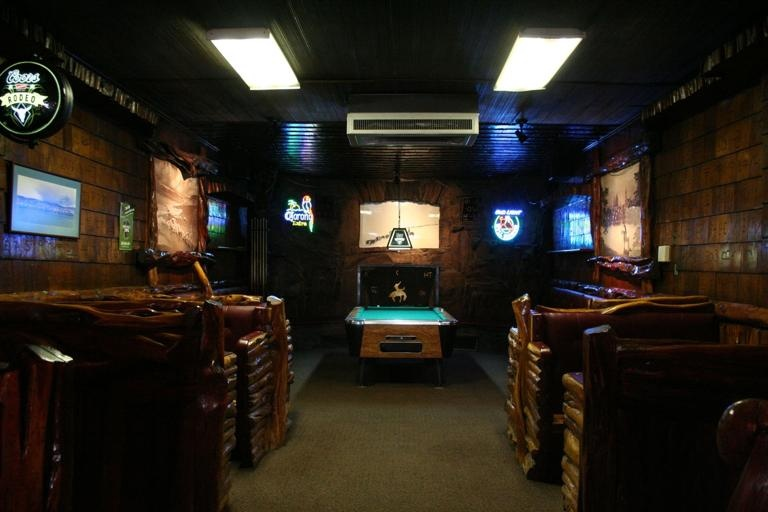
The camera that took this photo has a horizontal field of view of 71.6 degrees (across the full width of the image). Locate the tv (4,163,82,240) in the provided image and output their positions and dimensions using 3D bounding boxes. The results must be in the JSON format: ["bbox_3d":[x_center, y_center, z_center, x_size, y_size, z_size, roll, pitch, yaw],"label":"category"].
[{"bbox_3d":[-3.454,-0.546,5.327,0.089,0.617,0.852,1,-2,19],"label":"tv"}]

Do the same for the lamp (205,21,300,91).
[{"bbox_3d":[-1.375,-2.059,5.614,0.723,0.280,0.936,1,-1,7],"label":"lamp"}]

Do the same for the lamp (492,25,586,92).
[{"bbox_3d":[1.588,-2.031,5.571,0.638,0.274,1.004,1,-1,-3],"label":"lamp"}]
